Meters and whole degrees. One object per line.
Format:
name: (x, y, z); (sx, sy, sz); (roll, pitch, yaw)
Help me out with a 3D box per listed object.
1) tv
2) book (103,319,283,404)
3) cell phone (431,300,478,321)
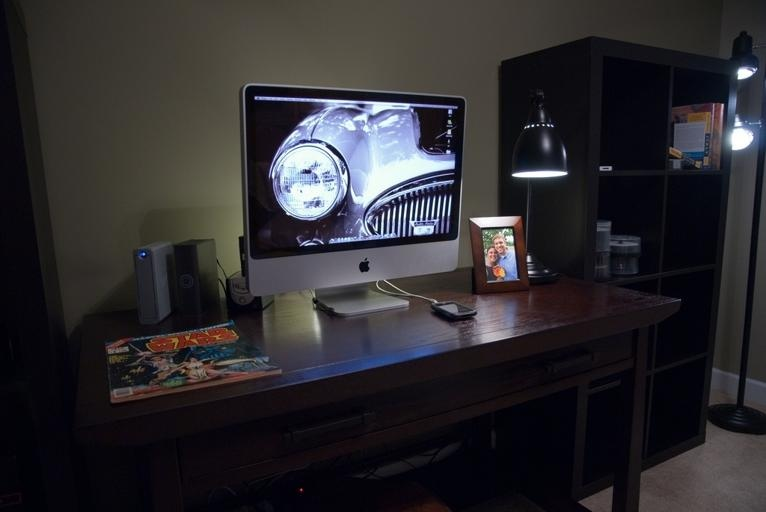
tv: (-0.119, -0.202, 2.144); (0.862, 0.757, 0.250); (-3, 8, -26)
book: (-0.607, 0.326, 1.872); (0.523, 0.087, 0.358); (-7, 13, -16)
cell phone: (0.259, 0.198, 2.134); (0.134, 0.040, 0.232); (-2, 6, -15)
